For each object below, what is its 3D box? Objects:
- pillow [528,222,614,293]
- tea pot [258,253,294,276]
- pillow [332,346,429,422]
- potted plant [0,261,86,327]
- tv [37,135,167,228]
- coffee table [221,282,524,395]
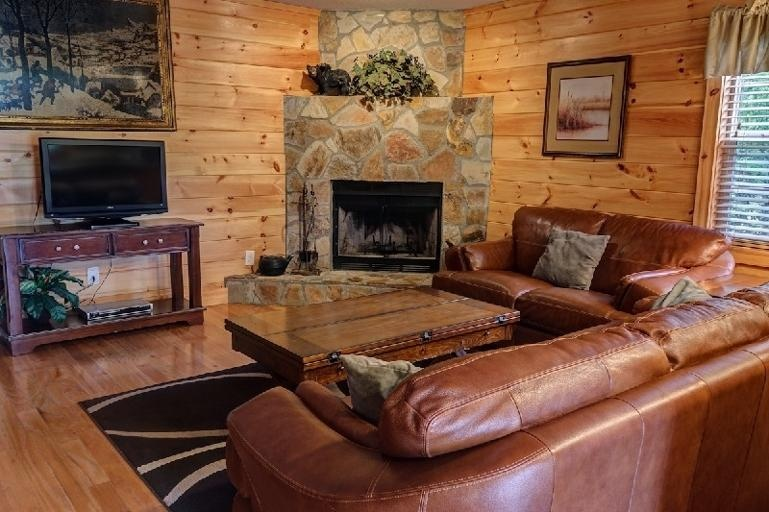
[{"bbox_3d":[1.614,0.029,4.526,0.660,0.497,0.199,21,-10,46],"label":"pillow"},{"bbox_3d":[-1.197,0.106,5.788,0.349,0.141,0.259,6,-4,-33],"label":"tea pot"},{"bbox_3d":[0.018,0.524,2.159,0.345,0.373,0.445,-12,-27,-3],"label":"pillow"},{"bbox_3d":[-2.981,0.312,4.623,0.682,0.334,0.674,-4,9,-44],"label":"potted plant"},{"bbox_3d":[-2.533,-0.653,4.743,0.363,0.755,1.324,12,14,18],"label":"tv"},{"bbox_3d":[-0.219,0.446,3.598,1.387,0.218,0.870,-6,14,-30],"label":"coffee table"}]
